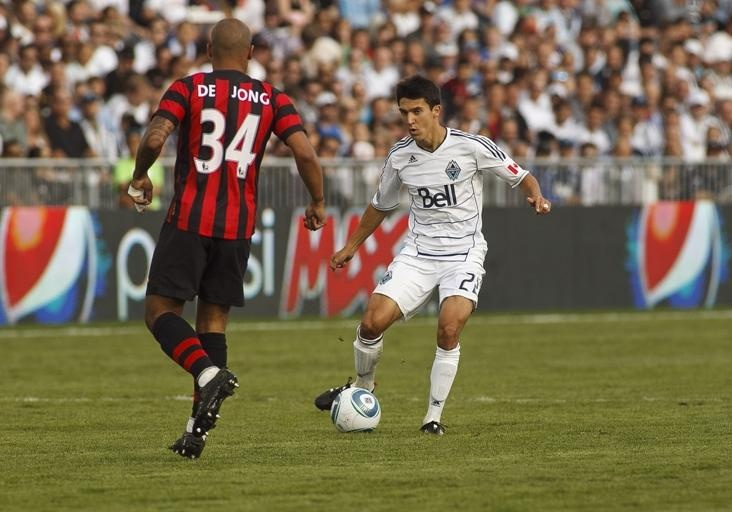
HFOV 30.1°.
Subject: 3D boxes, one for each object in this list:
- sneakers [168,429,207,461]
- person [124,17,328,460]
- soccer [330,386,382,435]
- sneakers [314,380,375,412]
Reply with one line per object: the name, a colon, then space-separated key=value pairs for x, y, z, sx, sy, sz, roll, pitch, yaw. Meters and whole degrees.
sneakers: x=-1.422 y=1.509 z=10.827 sx=0.261 sy=0.172 sz=0.116 roll=1 pitch=10 yaw=13
person: x=-1.154 y=-0.182 z=11.071 sx=1.289 sy=3.397 sz=0.868 roll=-7 pitch=13 yaw=-31
soccer: x=-0.087 y=1.299 z=11.711 sx=0.351 sy=0.360 sz=0.344 roll=-29 pitch=8 yaw=5
sneakers: x=-0.198 y=1.192 z=11.964 sx=0.489 sy=0.234 sz=0.179 roll=-30 pitch=-14 yaw=-17
